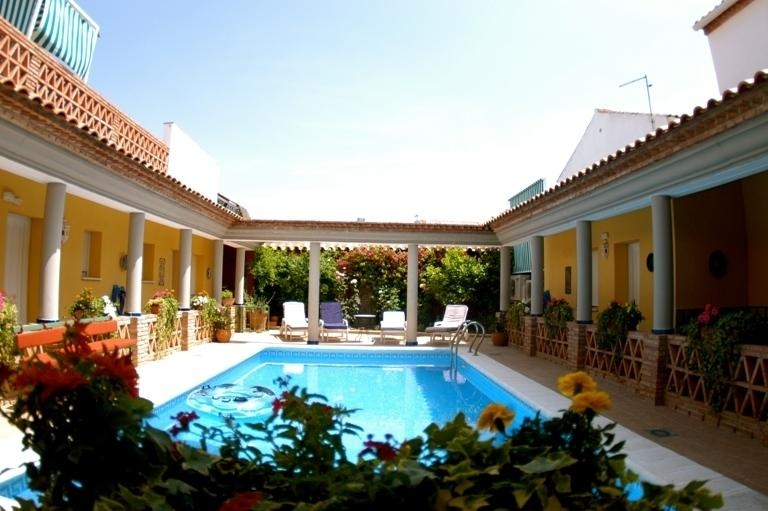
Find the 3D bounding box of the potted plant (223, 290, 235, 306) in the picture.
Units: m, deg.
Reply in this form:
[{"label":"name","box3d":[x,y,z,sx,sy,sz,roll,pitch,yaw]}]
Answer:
[{"label":"potted plant","box3d":[-5.074,1.364,15.978,0.490,0.501,0.501,1,-5,-11]}]

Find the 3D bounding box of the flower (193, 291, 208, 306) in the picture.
[{"label":"flower","box3d":[-5.089,1.176,13.646,0.391,0.247,0.378,2,-6,4]}]

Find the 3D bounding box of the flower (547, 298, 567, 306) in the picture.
[{"label":"flower","box3d":[4.091,1.082,11.567,0.270,0.152,0.268,3,-2,-23]}]

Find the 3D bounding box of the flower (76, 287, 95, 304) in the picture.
[{"label":"flower","box3d":[-5.531,0.731,9.085,0.286,0.319,0.276,3,0,-9]}]

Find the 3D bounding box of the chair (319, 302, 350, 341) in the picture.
[{"label":"chair","box3d":[-1.599,2.040,15.557,0.862,0.978,1.331,3,1,-12]}]

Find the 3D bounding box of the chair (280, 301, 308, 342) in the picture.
[{"label":"chair","box3d":[-2.726,1.997,15.605,1.000,1.035,1.578,3,1,-16]}]

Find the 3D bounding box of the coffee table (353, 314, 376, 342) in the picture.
[{"label":"coffee table","box3d":[-0.693,2.580,17.659,0.895,0.966,0.861,0,-6,-3]}]

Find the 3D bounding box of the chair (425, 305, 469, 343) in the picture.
[{"label":"chair","box3d":[1.979,2.098,15.184,0.944,1.069,1.405,-3,-2,32]}]

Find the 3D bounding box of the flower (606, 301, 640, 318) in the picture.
[{"label":"flower","box3d":[4.386,0.979,8.999,0.413,0.223,0.419,1,-3,9]}]

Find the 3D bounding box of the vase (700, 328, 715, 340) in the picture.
[{"label":"vase","box3d":[4.552,1.082,6.913,0.118,0.120,0.115,2,-2,-40]}]

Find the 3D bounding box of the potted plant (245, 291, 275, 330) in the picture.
[{"label":"potted plant","box3d":[-4.366,1.908,17.251,1.292,1.535,1.092,2,3,-4]}]

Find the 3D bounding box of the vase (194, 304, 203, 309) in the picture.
[{"label":"vase","box3d":[-5.042,1.390,13.375,0.230,0.137,0.233,3,-2,-24]}]

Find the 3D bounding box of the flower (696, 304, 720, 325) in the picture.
[{"label":"flower","box3d":[4.901,0.888,7.462,0.297,0.367,0.317,0,-11,-36]}]

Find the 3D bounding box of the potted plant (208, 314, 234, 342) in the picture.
[{"label":"potted plant","box3d":[-4.686,2.069,14.290,0.735,0.941,0.688,0,1,3]}]

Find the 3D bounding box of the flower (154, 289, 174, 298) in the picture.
[{"label":"flower","box3d":[-5.510,0.926,12.301,0.279,0.147,0.277,4,-3,-28]}]

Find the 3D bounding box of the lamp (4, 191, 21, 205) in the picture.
[{"label":"lamp","box3d":[-6.369,-0.991,8.437,0.162,0.214,0.302,0,-3,1]}]

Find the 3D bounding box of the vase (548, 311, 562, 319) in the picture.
[{"label":"vase","box3d":[3.958,1.368,11.389,0.216,0.115,0.274,2,0,10]}]

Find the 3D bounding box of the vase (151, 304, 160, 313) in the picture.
[{"label":"vase","box3d":[-5.117,1.179,11.021,0.193,0.147,0.196,4,-3,10]}]

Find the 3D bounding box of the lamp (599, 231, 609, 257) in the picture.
[{"label":"lamp","box3d":[5.305,-0.264,11.860,0.175,0.588,0.621,1,-2,22]}]

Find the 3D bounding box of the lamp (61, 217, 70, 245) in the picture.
[{"label":"lamp","box3d":[-6.119,-0.489,9.482,0.112,0.509,0.872,3,-2,-32]}]

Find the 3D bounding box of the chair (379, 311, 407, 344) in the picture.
[{"label":"chair","box3d":[0.288,2.240,15.555,0.839,0.900,1.038,1,-4,-1]}]

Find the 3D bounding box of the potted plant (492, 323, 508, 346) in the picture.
[{"label":"potted plant","box3d":[3.394,2.302,14.337,0.505,0.711,0.514,-5,-9,32]}]
